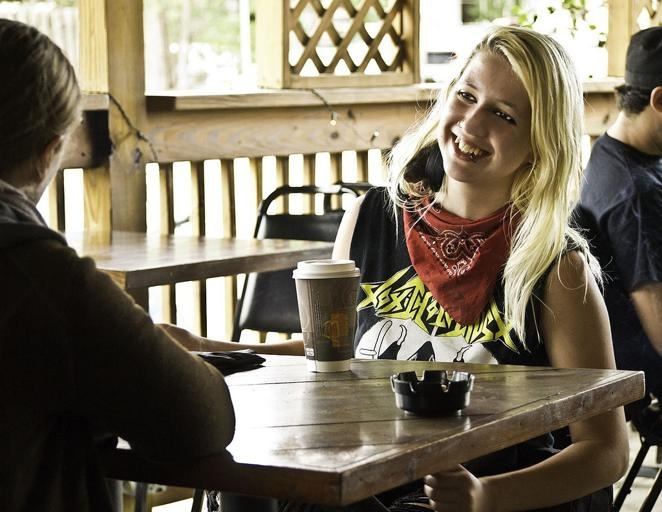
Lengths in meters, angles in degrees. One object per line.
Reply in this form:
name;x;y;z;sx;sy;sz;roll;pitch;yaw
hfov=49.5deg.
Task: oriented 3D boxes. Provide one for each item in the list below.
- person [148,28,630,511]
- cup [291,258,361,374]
person;0.361;-0.013;2.278;1.030;1.605;1.172;16;-6;-42
cup;-0.005;0.114;1.370;0.138;0.196;0.138;-2;0;0
